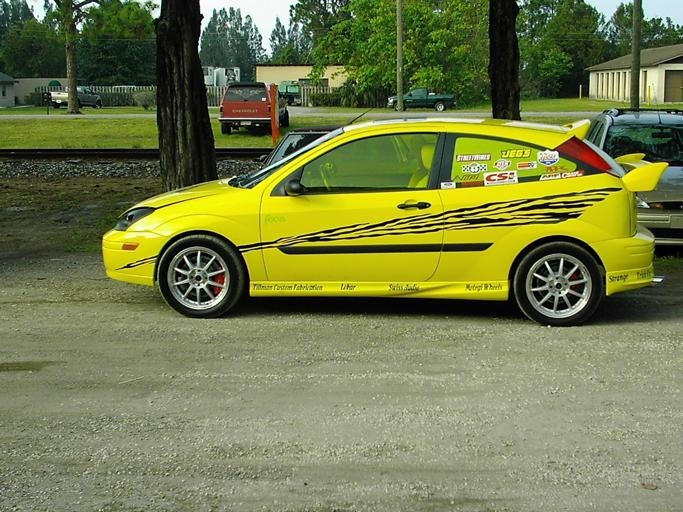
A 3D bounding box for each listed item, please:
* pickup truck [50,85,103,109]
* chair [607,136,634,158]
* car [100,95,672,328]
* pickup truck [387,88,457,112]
[{"bbox_3d":[-21.605,-12.817,58.922,2.412,1.678,4.537,2,13,11],"label":"pickup truck"},{"bbox_3d":[3.957,-1.568,10.444,0.389,0.165,0.436,2,16,20],"label":"chair"},{"bbox_3d":[0.439,-0.488,7.694,5.221,1.461,2.148,2,5,3],"label":"car"},{"bbox_3d":[5.742,-11.651,53.629,4.881,1.420,2.091,2,9,1],"label":"pickup truck"}]
